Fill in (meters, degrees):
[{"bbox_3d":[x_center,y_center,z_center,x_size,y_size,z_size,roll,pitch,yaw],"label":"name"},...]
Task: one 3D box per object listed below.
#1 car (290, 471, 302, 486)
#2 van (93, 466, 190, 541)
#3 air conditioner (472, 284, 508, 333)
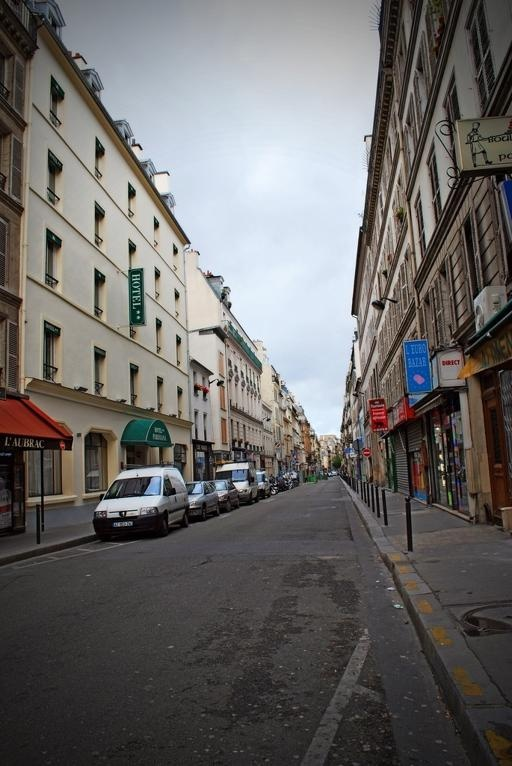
[{"bbox_3d":[5.118,12.472,63.008,1.667,1.743,3.290,-4,-26,5],"label":"car"},{"bbox_3d":[-3.369,3.555,14.175,1.748,2.117,3.075,-9,-12,10],"label":"van"},{"bbox_3d":[4.311,-1.453,8.763,0.382,0.714,0.940,-7,-11,12],"label":"air conditioner"}]
